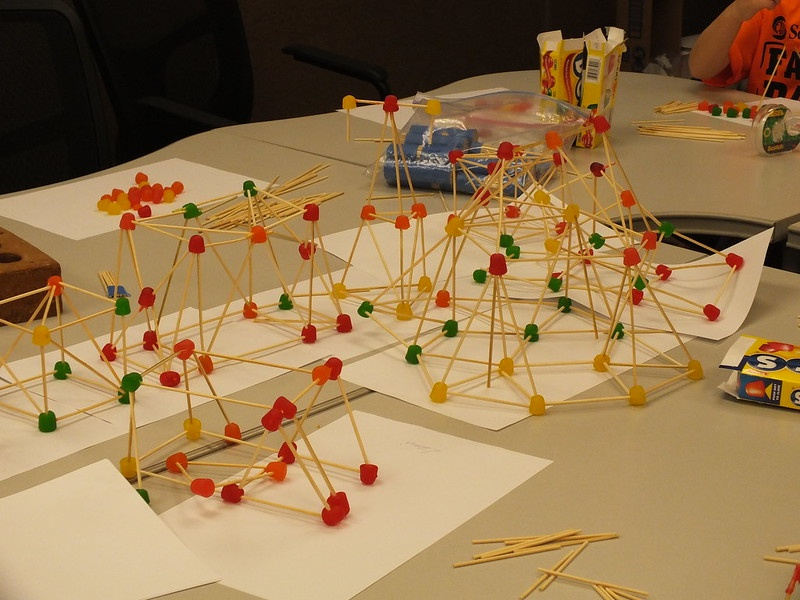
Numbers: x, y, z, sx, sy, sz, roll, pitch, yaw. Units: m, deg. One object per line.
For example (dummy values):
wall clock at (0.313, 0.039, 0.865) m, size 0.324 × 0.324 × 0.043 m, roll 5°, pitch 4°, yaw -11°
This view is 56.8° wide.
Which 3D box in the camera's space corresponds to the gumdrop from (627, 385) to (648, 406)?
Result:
gumdrop at (0.291, 0.118, 0.912) m, size 0.022 × 0.022 × 0.022 m, roll -2°, pitch -1°, yaw 1°

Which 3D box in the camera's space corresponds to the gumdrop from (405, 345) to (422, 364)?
gumdrop at (0.018, 0.074, 0.997) m, size 0.021 × 0.025 × 0.023 m, roll 12°, pitch 26°, yaw 4°

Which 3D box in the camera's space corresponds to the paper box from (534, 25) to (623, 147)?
paper box at (0.414, -0.488, 1.741) m, size 0.192 × 0.297 × 0.232 m, roll 14°, pitch 19°, yaw 22°

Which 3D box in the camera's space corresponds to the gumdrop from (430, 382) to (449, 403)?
gumdrop at (0.048, 0.118, 0.927) m, size 0.022 × 0.022 × 0.023 m, roll -2°, pitch 32°, yaw -6°

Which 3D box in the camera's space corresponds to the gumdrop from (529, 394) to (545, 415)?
gumdrop at (0.167, 0.130, 0.904) m, size 0.020 × 0.023 × 0.021 m, roll -5°, pitch 33°, yaw -3°

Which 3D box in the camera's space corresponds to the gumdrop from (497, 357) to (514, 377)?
gumdrop at (0.138, 0.087, 0.961) m, size 0.020 × 0.022 × 0.029 m, roll 16°, pitch 4°, yaw 3°
